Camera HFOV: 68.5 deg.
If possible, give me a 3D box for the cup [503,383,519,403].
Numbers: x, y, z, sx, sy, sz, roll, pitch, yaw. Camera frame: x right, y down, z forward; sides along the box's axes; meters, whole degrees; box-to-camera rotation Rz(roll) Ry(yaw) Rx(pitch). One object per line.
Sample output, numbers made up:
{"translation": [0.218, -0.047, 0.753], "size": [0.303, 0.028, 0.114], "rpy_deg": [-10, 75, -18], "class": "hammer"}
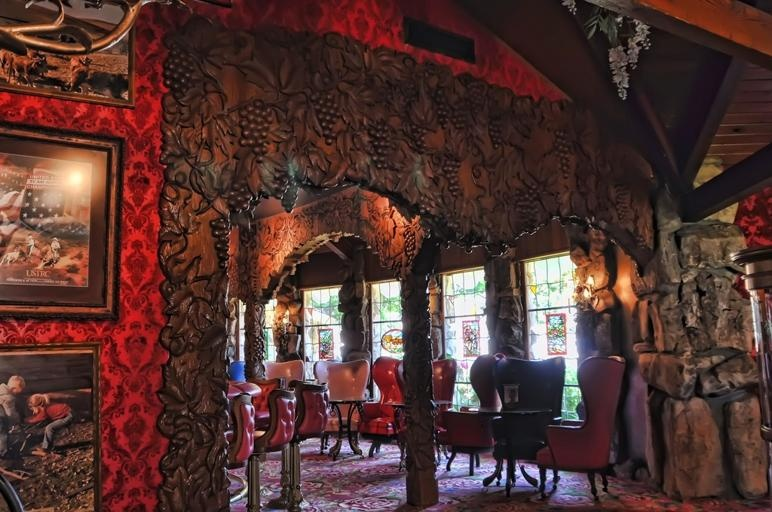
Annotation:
{"translation": [1.573, 1.724, 7.167], "size": [0.187, 0.236, 0.192], "rpy_deg": [1, -6, 0], "class": "cup"}
